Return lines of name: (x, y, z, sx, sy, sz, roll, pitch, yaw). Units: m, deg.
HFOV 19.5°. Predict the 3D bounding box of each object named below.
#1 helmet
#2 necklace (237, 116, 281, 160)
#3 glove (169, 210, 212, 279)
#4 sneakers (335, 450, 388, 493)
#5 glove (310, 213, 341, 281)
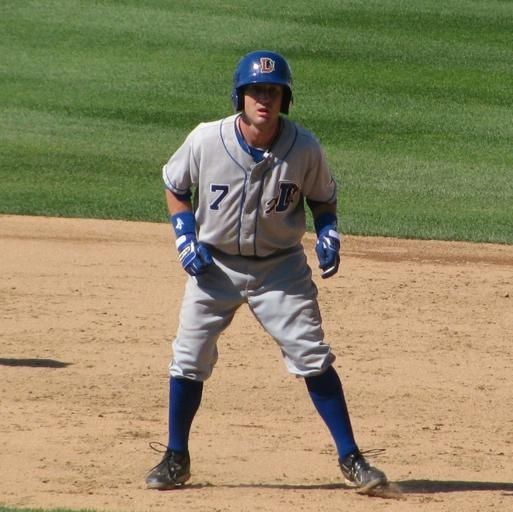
helmet: (0.063, -1.458, 12.843, 0.441, 0.483, 0.572, 2, -10, 6)
necklace: (-0.021, -1.012, 12.708, 0.258, 0.360, 0.183, -2, 15, 0)
glove: (-0.572, -0.110, 13.211, 0.259, 0.290, 0.689, -14, 52, -8)
sneakers: (0.894, 1.822, 12.942, 0.190, 0.257, 0.513, -17, 13, -34)
glove: (0.601, -0.092, 12.915, 0.178, 0.253, 0.603, 3, 48, 0)
